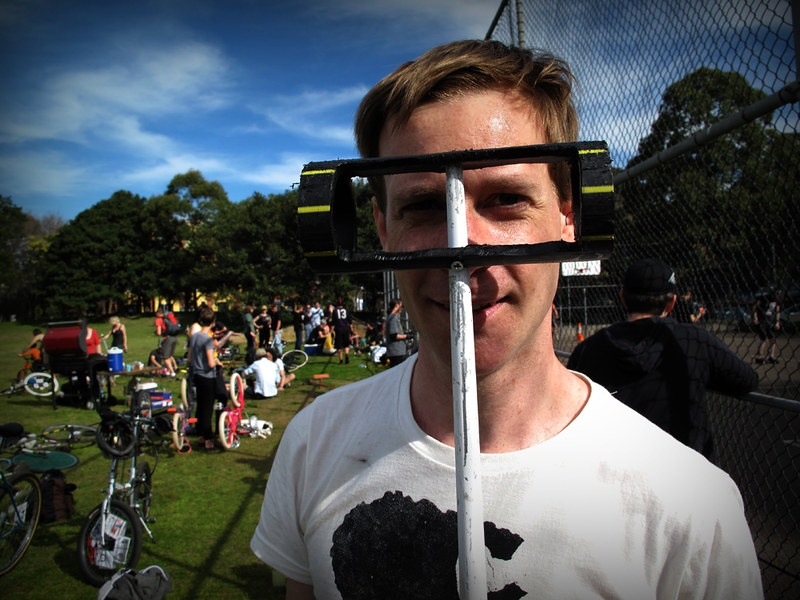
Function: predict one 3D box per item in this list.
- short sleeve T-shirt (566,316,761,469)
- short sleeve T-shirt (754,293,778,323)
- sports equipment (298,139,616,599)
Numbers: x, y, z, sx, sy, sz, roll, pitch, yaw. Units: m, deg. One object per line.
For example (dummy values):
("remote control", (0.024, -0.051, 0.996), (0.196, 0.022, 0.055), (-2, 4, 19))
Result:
("short sleeve T-shirt", (1.772, 0.448, 4.339), (1.308, 0.601, 1.153), (1, -30, 39))
("short sleeve T-shirt", (2.494, 0.059, 4.338), (0.079, 0.243, 0.178), (-2, 2, -20))
("sports equipment", (0.240, 0.271, 2.526), (1.179, 1.704, 0.402), (-2, 6, 18))
